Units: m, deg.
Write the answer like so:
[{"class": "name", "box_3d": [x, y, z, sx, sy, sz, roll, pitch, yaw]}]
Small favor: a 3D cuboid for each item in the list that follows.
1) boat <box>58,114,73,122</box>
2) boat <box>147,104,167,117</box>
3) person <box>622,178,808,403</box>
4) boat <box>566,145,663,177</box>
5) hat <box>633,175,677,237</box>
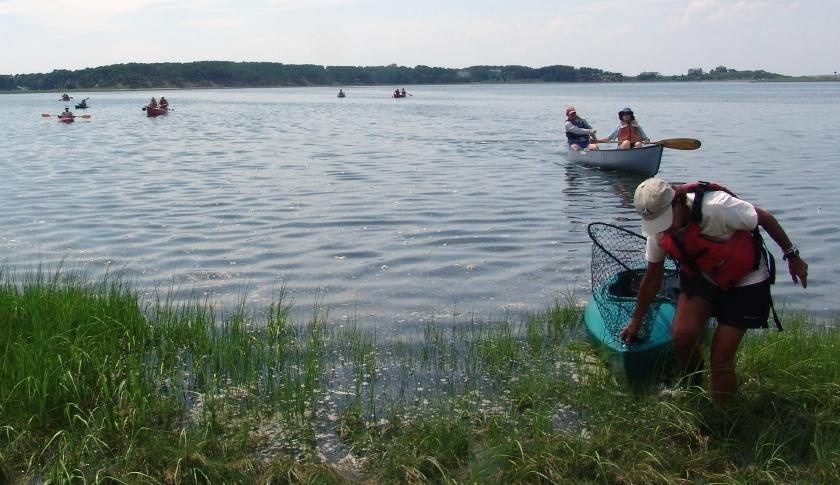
[{"class": "boat", "box_3d": [-23.735, -8.320, 50.182, 0.654, 0.292, 0.874, -6, 15, -39]}, {"class": "boat", "box_3d": [-20.914, -10.379, 59.403, 1.446, 0.820, 1.702, -8, 12, -17]}, {"class": "person", "box_3d": [3.719, 0.599, 9.862, 1.663, 2.954, 0.683, 1, 14, 24]}, {"class": "boat", "box_3d": [6.872, -2.884, 26.027, 0.645, 1.165, 4.025, -14, 15, -34]}, {"class": "hat", "box_3d": [2.996, -0.466, 9.629, 0.514, 0.739, 0.454, -9, -37, 38]}]
